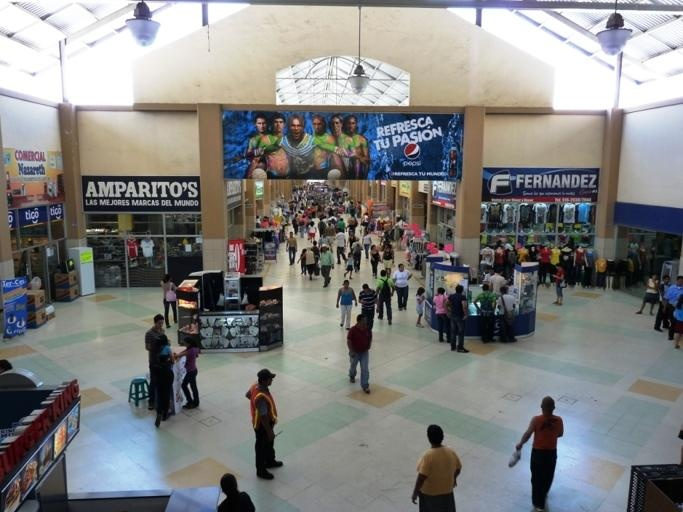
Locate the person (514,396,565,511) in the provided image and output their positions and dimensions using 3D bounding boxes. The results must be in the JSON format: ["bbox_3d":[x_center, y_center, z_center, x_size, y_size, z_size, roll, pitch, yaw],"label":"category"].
[{"bbox_3d":[2.896,2.852,7.119,0.451,1.704,0.754,9,15,37],"label":"person"}]

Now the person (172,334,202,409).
[{"bbox_3d":[-3.140,2.343,9.884,0.371,1.478,0.697,-3,12,-14],"label":"person"}]

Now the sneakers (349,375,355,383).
[{"bbox_3d":[0.223,2.806,11.021,0.071,0.146,0.214,-1,-3,-8],"label":"sneakers"}]

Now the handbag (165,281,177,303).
[{"bbox_3d":[-5.104,1.050,14.421,0.293,0.622,0.264,-5,13,-22],"label":"handbag"}]

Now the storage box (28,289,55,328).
[{"bbox_3d":[-9.414,1.665,15.152,0.564,0.925,0.994,-2,6,1],"label":"storage box"}]

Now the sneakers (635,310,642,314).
[{"bbox_3d":[9.855,1.854,16.146,0.246,0.101,0.085,1,19,15],"label":"sneakers"}]

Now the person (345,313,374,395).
[{"bbox_3d":[0.370,2.067,10.782,0.504,1.725,0.962,0,12,2],"label":"person"}]

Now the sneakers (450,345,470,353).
[{"bbox_3d":[3.125,2.446,12.793,0.417,0.180,0.169,-1,10,3],"label":"sneakers"}]

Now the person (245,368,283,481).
[{"bbox_3d":[-1.259,2.637,7.764,0.457,1.819,0.443,3,12,14],"label":"person"}]

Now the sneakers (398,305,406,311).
[{"bbox_3d":[2.065,1.758,16.469,0.320,0.129,0.201,-4,12,-18],"label":"sneakers"}]

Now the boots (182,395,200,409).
[{"bbox_3d":[-3.080,2.998,9.926,0.290,0.284,0.156,6,-2,-13],"label":"boots"}]

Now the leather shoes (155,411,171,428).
[{"bbox_3d":[-3.425,3.140,9.345,0.127,0.380,0.252,11,-1,-12],"label":"leather shoes"}]

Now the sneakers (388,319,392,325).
[{"bbox_3d":[1.457,2.060,14.981,0.110,0.188,0.105,-1,-1,-1],"label":"sneakers"}]

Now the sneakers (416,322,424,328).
[{"bbox_3d":[2.371,2.105,14.823,0.241,0.104,0.093,-1,17,12],"label":"sneakers"}]

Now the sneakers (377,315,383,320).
[{"bbox_3d":[1.214,1.945,15.485,0.150,0.153,0.111,4,29,4],"label":"sneakers"}]

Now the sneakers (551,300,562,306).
[{"bbox_3d":[7.640,1.641,17.248,0.261,0.118,0.470,5,12,23],"label":"sneakers"}]

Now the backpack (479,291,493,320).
[{"bbox_3d":[3.961,1.309,13.378,0.450,0.810,0.254,3,12,14],"label":"backpack"}]

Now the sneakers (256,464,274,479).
[{"bbox_3d":[-1.221,3.473,7.851,0.293,0.289,0.145,-2,16,0],"label":"sneakers"}]

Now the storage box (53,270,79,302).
[{"bbox_3d":[-10.001,1.080,17.538,0.537,1.009,1.047,0,3,-3],"label":"storage box"}]

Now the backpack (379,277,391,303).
[{"bbox_3d":[1.342,1.025,15.077,0.366,0.811,0.303,1,12,7],"label":"backpack"}]
